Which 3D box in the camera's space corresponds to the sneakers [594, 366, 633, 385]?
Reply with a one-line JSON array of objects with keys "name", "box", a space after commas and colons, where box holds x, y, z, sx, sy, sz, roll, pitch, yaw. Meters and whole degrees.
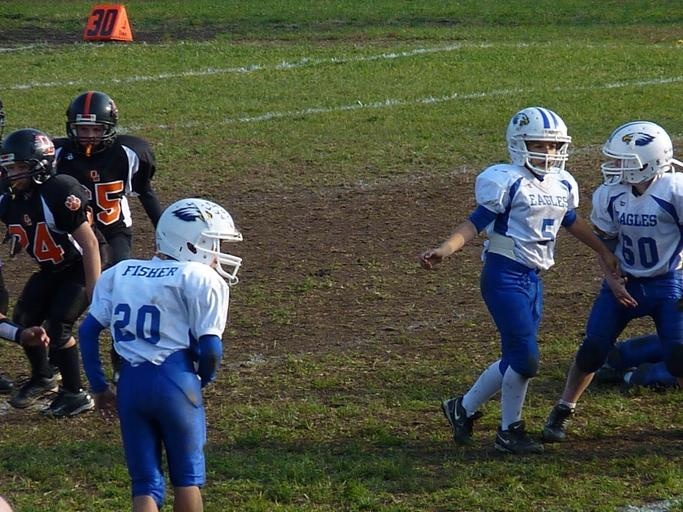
[{"name": "sneakers", "box": [2.871, 1.280, 14.581, 0.497, 0.167, 0.149, -3, 6, 7]}]

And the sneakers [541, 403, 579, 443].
[{"name": "sneakers", "box": [2.197, 1.704, 13.875, 0.204, 0.493, 0.231, 30, -8, 16]}]

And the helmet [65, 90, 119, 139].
[{"name": "helmet", "box": [-2.684, -1.535, 14.774, 0.531, 0.394, 0.582, -1, -2, -2]}]

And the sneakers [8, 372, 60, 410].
[{"name": "sneakers", "box": [-3.212, 1.425, 14.313, 0.634, 0.235, 0.217, -23, 39, -39]}]

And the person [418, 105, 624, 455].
[{"name": "person", "box": [1.795, 0.236, 13.610, 1.161, 3.340, 1.407, 13, 19, 34]}]
